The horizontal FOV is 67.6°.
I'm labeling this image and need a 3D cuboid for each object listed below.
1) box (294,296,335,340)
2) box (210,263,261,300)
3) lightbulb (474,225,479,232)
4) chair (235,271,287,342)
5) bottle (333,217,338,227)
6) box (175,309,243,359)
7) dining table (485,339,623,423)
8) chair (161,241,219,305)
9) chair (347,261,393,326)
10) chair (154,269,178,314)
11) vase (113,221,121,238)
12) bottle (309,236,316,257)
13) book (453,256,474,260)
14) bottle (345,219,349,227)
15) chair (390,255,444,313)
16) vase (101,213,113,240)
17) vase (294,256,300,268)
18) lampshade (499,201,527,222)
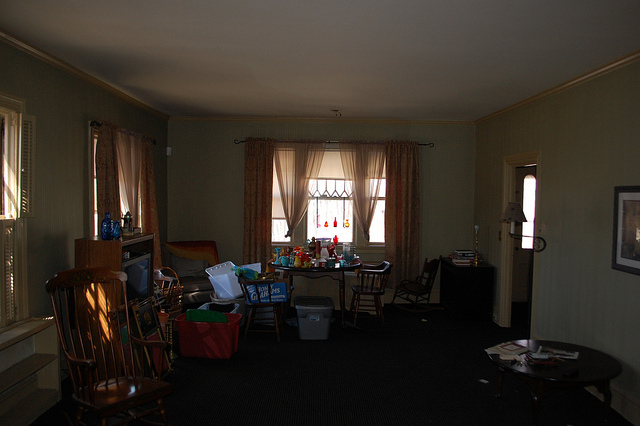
[{"bbox_3d":[-0.087,1.482,6.961,0.524,0.463,0.592,2,-5,-13],"label":"box"},{"bbox_3d":[-1.235,1.067,7.339,0.876,0.498,0.637,-1,-14,13],"label":"box"},{"bbox_3d":[2.578,0.247,7.883,0.090,0.117,0.092,1,-1,-36],"label":"lightbulb"},{"bbox_3d":[-0.847,1.325,6.976,0.645,0.929,0.617,0,13,-6],"label":"chair"},{"bbox_3d":[0.282,0.179,8.727,0.091,0.259,0.096,2,-1,0],"label":"bottle"},{"bbox_3d":[-1.463,1.593,6.378,0.778,0.475,0.548,0,-3,5],"label":"box"},{"bbox_3d":[2.519,1.868,5.244,1.313,0.708,0.810,0,13,-4],"label":"dining table"},{"bbox_3d":[-2.064,1.064,7.733,0.965,1.302,1.086,-5,-8,-11],"label":"chair"},{"bbox_3d":[0.779,1.211,7.772,0.648,1.015,1.137,1,13,1],"label":"chair"},{"bbox_3d":[-2.325,1.100,7.031,0.416,0.676,0.486,2,-1,-24],"label":"chair"},{"bbox_3d":[-2.475,0.192,5.811,0.059,0.176,0.118,6,14,22],"label":"vase"},{"bbox_3d":[-0.114,0.531,7.555,0.097,0.240,0.292,0,13,-3],"label":"bottle"},{"bbox_3d":[2.374,0.724,7.841,0.311,0.037,0.093,3,14,6],"label":"book"},{"bbox_3d":[0.487,0.188,8.598,0.082,0.138,0.082,0,-1,0],"label":"bottle"},{"bbox_3d":[1.576,1.199,8.220,0.729,0.974,0.546,8,0,17],"label":"chair"},{"bbox_3d":[-2.576,0.149,5.774,0.136,0.304,0.150,-4,14,-23],"label":"vase"},{"bbox_3d":[-0.336,0.717,7.059,0.097,0.153,0.102,1,-7,-5],"label":"vase"},{"bbox_3d":[2.557,-0.005,6.338,0.304,0.296,0.316,2,13,3],"label":"lampshade"}]
